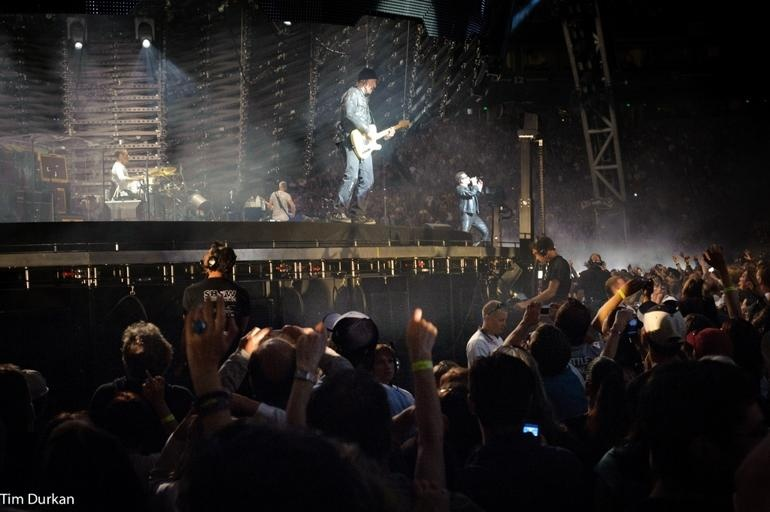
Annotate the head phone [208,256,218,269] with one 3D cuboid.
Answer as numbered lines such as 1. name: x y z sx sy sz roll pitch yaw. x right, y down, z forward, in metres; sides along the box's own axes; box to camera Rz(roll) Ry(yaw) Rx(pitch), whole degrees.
1. head phone: -2.008 0.071 8.079 0.105 0.124 0.041 0 3 5

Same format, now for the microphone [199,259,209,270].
1. microphone: -2.414 0.119 9.234 0.080 0.162 0.227 -5 19 -18

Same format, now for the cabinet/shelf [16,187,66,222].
1. cabinet/shelf: -6.919 -1.029 13.880 0.506 0.686 0.951 -3 0 22

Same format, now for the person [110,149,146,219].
1. person: -5.309 -1.475 14.222 0.655 1.595 1.860 -1 -2 -21

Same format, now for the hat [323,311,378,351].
1. hat: -0.335 0.653 6.283 0.299 0.236 0.402 -5 26 -34

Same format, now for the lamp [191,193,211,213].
1. lamp: -3.796 -1.114 14.319 0.259 0.457 0.737 -1 -2 -31

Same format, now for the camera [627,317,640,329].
1. camera: 2.552 0.691 7.138 0.083 0.120 0.040 4 5 20

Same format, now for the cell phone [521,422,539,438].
1. cell phone: 1.221 1.469 5.861 0.124 0.126 0.085 5 -28 9

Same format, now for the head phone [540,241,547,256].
1. head phone: 2.299 -0.108 10.169 0.060 0.113 0.161 -3 -36 2

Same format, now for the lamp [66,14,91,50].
1. lamp: -6.909 -4.997 15.539 0.508 0.681 0.281 -3 -2 28

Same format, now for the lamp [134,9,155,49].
1. lamp: -5.296 -4.933 15.291 0.502 0.658 0.274 -3 -2 31

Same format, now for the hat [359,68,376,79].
1. hat: -0.303 -3.062 11.680 0.281 0.142 0.283 -4 10 14
